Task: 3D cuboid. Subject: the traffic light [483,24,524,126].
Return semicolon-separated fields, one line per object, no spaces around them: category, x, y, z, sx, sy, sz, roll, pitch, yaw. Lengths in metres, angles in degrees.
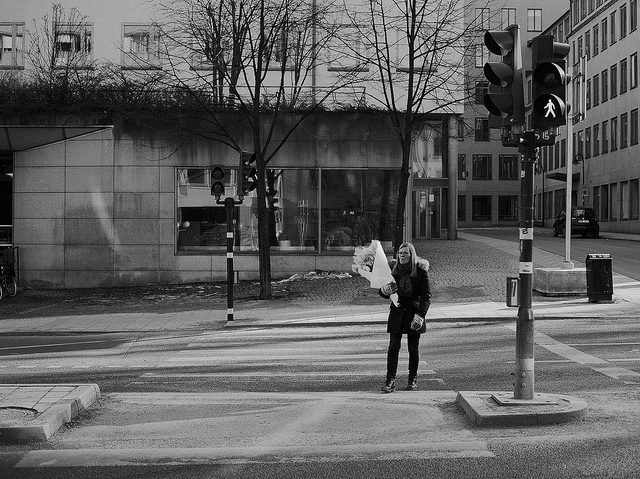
traffic light;3.290;-2.897;18.289;0.689;1.701;0.436;2;12;12

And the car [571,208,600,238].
car;13.101;-0.772;51.281;0.975;0.964;1.787;0;5;4

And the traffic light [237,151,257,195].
traffic light;-2.008;-1.845;28.192;0.516;1.158;1.815;-2;12;-4

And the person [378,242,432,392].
person;1.653;1.466;19.880;0.940;2.727;1.416;0;11;6
